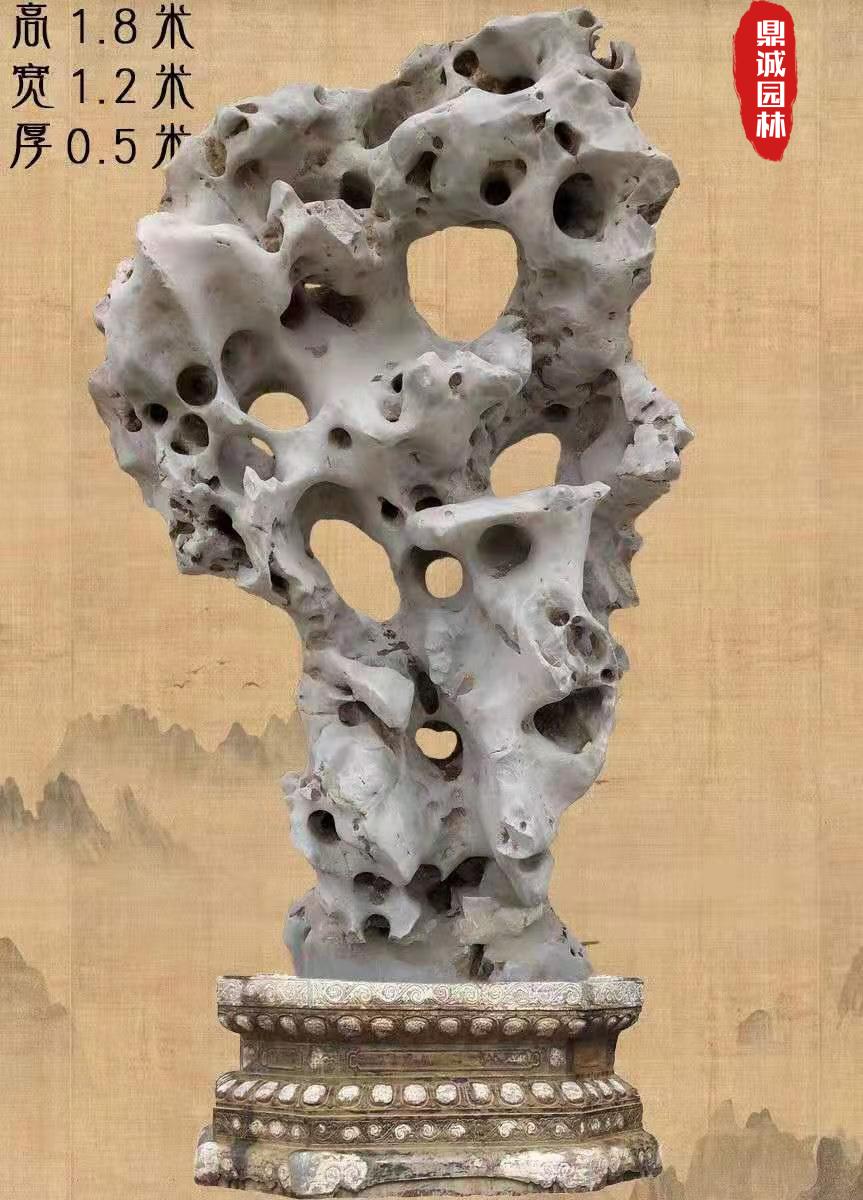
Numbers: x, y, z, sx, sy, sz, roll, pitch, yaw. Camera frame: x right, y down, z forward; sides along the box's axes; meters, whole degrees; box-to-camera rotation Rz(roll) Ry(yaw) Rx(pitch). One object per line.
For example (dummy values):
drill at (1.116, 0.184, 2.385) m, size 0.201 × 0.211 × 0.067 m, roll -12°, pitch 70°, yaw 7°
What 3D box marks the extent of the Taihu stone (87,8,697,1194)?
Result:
Taihu stone at (-0.034, 0.017, 7.131) m, size 1.005 × 2.098 × 0.570 m, roll -3°, pitch -3°, yaw 2°
